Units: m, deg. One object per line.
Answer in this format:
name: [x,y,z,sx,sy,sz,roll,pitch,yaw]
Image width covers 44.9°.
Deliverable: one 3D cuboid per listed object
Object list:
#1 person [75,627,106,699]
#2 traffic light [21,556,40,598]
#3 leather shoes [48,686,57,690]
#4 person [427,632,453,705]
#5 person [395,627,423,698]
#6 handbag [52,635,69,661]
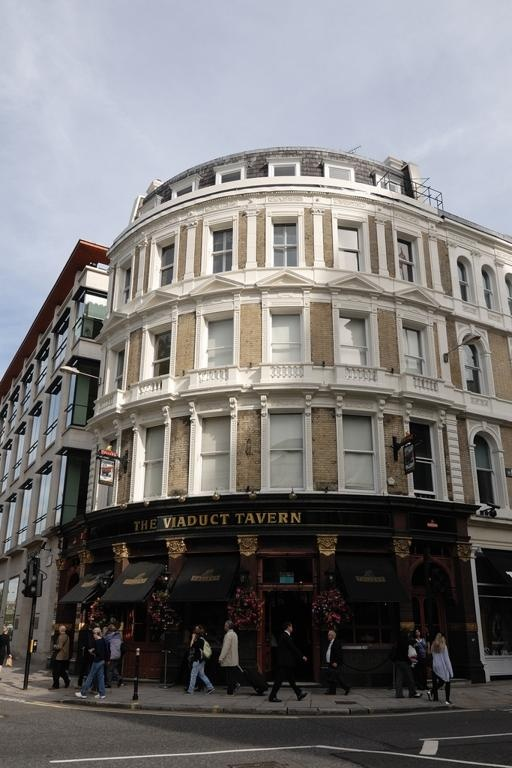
person: [-3.907,6.693,14.924,0.650,1.527,1.937,7,-24,-12]
traffic light: [-6.384,5.529,17.734,0.478,1.094,0.941,9,-24,-17]
leather shoes: [-5.417,8.133,16.493,0.115,0.122,0.320,2,-22,-3]
person: [4.211,6.519,14.220,0.450,1.465,2.897,-4,-24,13]
person: [3.753,7.008,15.517,0.554,1.473,2.279,-4,-24,13]
handbag: [-5.163,6.981,16.374,0.391,0.644,0.440,7,-24,-11]
